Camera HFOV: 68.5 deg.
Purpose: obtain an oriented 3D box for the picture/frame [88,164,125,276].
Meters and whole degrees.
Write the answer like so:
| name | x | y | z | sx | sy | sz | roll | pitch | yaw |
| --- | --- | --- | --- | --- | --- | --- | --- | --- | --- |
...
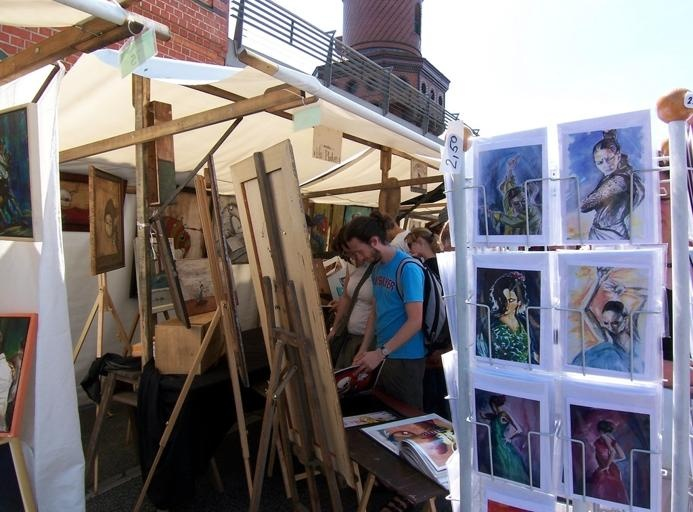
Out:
| name | x | y | z | sx | sy | sz | roll | pitch | yaw |
| --- | --- | --- | --- | --- | --- | --- | --- | --- | --- |
| picture/frame | -1.666 | -0.233 | 3.546 | 0.143 | 0.694 | 0.701 | -2 | 1 | -17 |

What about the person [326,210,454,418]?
| name | x | y | z | sx | sy | sz | roll | pitch | yaw |
| --- | --- | --- | --- | --- | --- | --- | --- | --- | --- |
| person | 0.342 | 0.425 | 3.384 | 0.660 | 1.476 | 0.966 | -2 | 1 | 12 |

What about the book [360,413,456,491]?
| name | x | y | z | sx | sy | sz | roll | pitch | yaw |
| --- | --- | --- | --- | --- | --- | --- | --- | --- | --- |
| book | 0.356 | 0.954 | 2.503 | 0.216 | 0.038 | 0.302 | -3 | 16 | -32 |

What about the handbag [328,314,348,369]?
| name | x | y | z | sx | sy | sz | roll | pitch | yaw |
| --- | --- | --- | --- | --- | --- | --- | --- | --- | --- |
| handbag | -0.044 | 0.643 | 3.976 | 0.136 | 0.499 | 0.133 | 2 | -1 | 33 |
